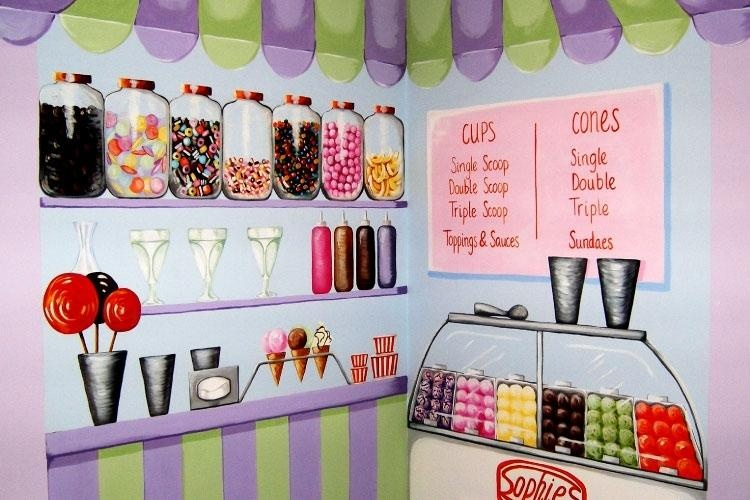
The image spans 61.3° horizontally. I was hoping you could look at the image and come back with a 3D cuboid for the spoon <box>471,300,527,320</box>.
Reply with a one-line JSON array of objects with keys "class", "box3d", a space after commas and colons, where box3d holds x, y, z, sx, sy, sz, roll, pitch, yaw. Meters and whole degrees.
[{"class": "spoon", "box3d": [0.555, 0.244, 2.809, 0.213, 0.079, 0.072, 5, 47, 30]}]
